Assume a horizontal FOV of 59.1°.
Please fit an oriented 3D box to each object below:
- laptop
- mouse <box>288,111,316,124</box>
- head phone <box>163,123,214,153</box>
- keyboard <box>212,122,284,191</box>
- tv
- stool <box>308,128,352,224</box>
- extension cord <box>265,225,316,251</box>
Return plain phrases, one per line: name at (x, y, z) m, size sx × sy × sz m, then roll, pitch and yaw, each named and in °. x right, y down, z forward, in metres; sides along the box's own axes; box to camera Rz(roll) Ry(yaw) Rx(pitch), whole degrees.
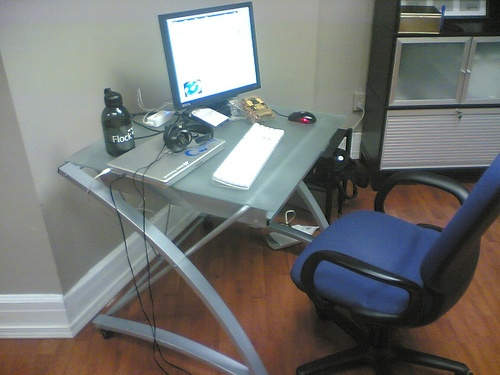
laptop at (-0.418, -0.123, 2.049) m, size 0.276 × 0.041 × 0.311 m, roll 17°, pitch 41°, yaw 26°
mouse at (0.289, -0.379, 2.430) m, size 0.121 × 0.042 × 0.073 m, roll 9°, pitch 37°, yaw 12°
head phone at (-0.304, -0.257, 2.144) m, size 0.191 × 0.089 × 0.161 m, roll -17°, pitch 36°, yaw -32°
keyboard at (-0.011, -0.133, 2.097) m, size 0.377 × 0.133 × 0.569 m, roll 8°, pitch 29°, yaw 15°
tv at (-0.203, -0.726, 2.441) m, size 0.596 × 0.479 × 0.114 m, roll -24°, pitch 37°, yaw -32°
stool at (0.520, -0.095, 3.024) m, size 0.307 × 0.571 × 0.385 m, roll 8°, pitch 29°, yaw 10°
extension cord at (0.286, 0.325, 2.960) m, size 0.309 × 0.041 × 0.170 m, roll -18°, pitch 31°, yaw -29°
